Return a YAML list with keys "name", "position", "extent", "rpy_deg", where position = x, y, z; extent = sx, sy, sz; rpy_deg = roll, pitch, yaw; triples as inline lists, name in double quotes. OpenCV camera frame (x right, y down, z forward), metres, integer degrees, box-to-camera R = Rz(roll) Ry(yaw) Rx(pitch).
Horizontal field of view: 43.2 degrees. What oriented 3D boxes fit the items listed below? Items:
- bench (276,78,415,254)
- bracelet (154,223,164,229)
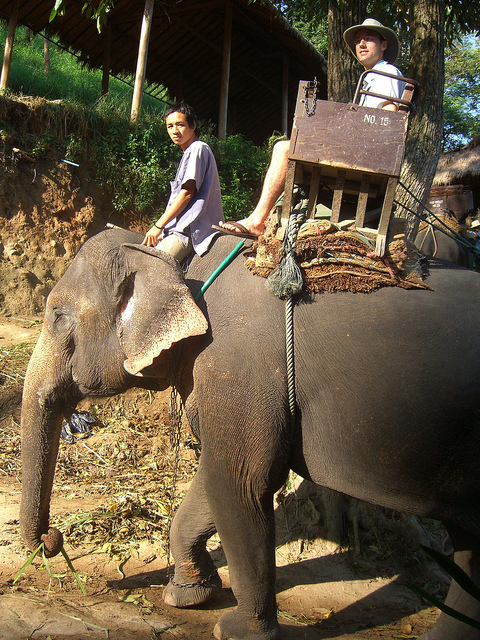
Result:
- name: "bench"
  position: [0.347, -0.534, 1.991]
  extent: [0.370, 0.599, 0.313]
  rpy_deg: [11, 9, 5]
- name: "bracelet"
  position: [-0.311, -0.360, 2.330]
  extent: [0.005, 0.021, 0.022]
  rpy_deg: [-38, 24, -11]
